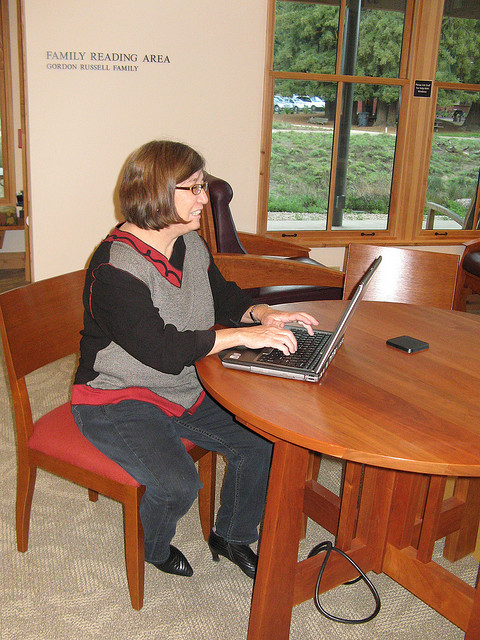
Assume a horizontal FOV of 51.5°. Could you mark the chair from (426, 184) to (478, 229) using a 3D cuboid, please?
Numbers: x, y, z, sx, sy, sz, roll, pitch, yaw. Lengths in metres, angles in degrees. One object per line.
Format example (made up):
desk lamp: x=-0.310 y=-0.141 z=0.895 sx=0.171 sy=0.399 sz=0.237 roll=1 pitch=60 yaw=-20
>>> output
chair: x=2.141 y=-1.154 z=5.102 sx=0.420 sy=0.601 sz=0.426 roll=10 pitch=19 yaw=12

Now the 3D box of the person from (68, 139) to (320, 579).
person: x=-0.098 y=0.121 z=1.258 sx=0.601 sy=1.059 sz=0.515 roll=5 pitch=7 yaw=8

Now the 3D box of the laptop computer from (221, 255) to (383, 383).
laptop computer: x=0.118 y=-0.067 z=1.017 sx=0.274 sy=0.217 sz=0.311 roll=11 pitch=21 yaw=17
